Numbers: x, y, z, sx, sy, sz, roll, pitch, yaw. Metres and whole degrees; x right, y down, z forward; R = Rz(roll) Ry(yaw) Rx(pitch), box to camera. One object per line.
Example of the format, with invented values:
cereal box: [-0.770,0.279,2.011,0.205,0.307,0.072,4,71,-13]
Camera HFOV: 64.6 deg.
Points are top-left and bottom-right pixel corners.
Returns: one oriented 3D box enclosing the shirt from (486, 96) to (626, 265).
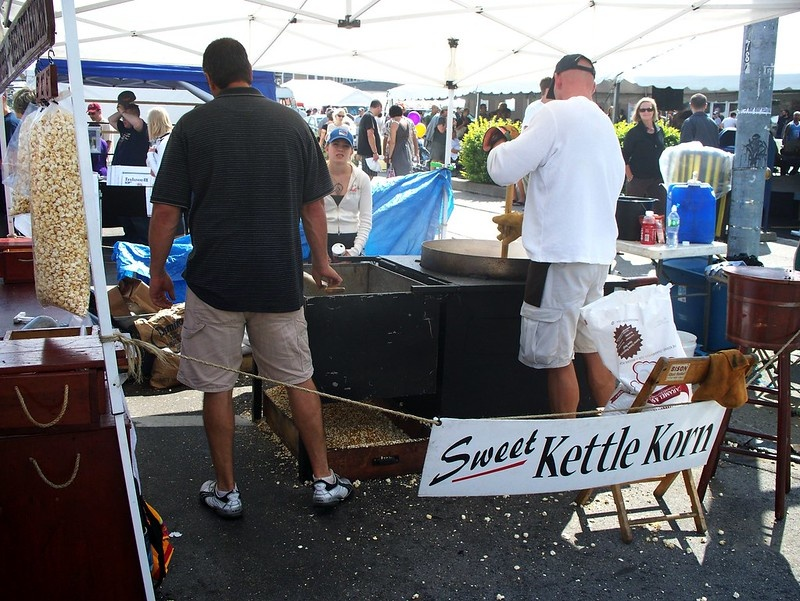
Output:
shirt: [0.906,-0.644,3.478,0.863,0.858,0.592,1,3,-29]

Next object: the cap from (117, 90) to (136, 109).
cap: [-3.624,-2.678,8.453,0.217,0.185,0.318,-3,30,12]

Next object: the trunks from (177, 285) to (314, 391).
trunks: [-0.734,0.085,3.152,0.693,0.670,0.270,2,23,-16]

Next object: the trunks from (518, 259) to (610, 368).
trunks: [0.853,0.064,3.263,0.475,0.458,0.290,-10,22,-41]

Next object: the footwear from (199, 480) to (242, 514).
footwear: [-0.922,0.988,3.244,0.109,0.121,0.263,-2,15,-40]

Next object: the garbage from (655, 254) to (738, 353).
garbage: [2.120,0.034,4.485,0.448,0.688,0.704,-3,8,-9]

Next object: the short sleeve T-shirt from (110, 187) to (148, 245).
short sleeve T-shirt: [-3.579,-1.115,8.266,0.163,0.613,0.646,-6,-1,37]

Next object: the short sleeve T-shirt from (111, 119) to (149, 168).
short sleeve T-shirt: [-3.751,-2.190,8.707,0.411,0.521,0.294,14,20,24]

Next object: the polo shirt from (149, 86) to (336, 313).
polo shirt: [-0.760,-0.491,3.118,0.919,1.058,0.444,-7,24,-24]

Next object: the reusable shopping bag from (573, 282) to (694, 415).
reusable shopping bag: [1.115,0.248,3.098,0.618,0.714,0.258,-16,2,-14]

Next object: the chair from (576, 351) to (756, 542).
chair: [1.297,0.664,3.197,0.768,0.979,0.830,-3,9,-40]

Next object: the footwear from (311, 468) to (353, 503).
footwear: [-0.350,0.974,3.308,0.104,0.133,0.268,1,2,22]

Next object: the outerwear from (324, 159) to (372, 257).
outerwear: [-0.511,-0.751,5.235,0.532,0.750,0.376,0,17,-6]

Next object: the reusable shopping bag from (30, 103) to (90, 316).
reusable shopping bag: [-1.265,-0.330,2.372,0.344,0.794,0.146,7,12,30]
